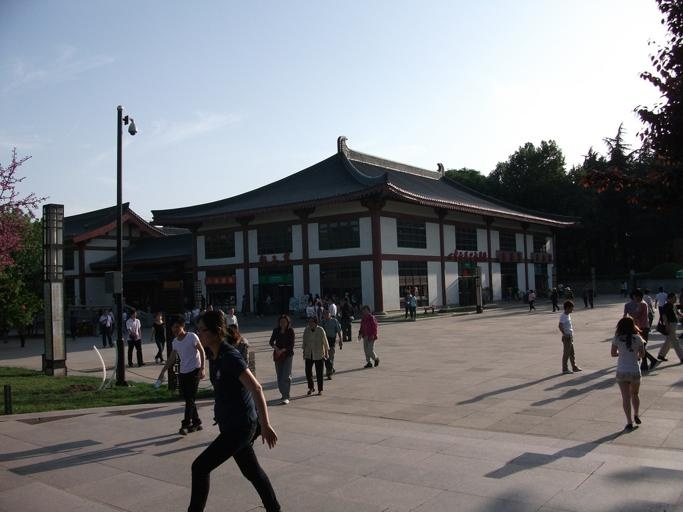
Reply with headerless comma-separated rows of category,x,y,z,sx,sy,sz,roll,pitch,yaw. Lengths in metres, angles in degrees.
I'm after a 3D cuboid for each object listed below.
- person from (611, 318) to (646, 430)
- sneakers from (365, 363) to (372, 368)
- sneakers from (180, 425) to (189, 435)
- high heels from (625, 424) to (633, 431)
person,5.575,2.273,11.109,0.831,2.094,0.488,1,-7,-39
sneakers,0.891,3.553,18.489,0.286,0.150,0.269,-4,-6,2
sneakers,-3.117,3.469,11.344,0.123,0.132,0.130,-1,-2,27
high heels,5.452,3.233,10.730,0.105,0.152,0.154,1,-13,0
